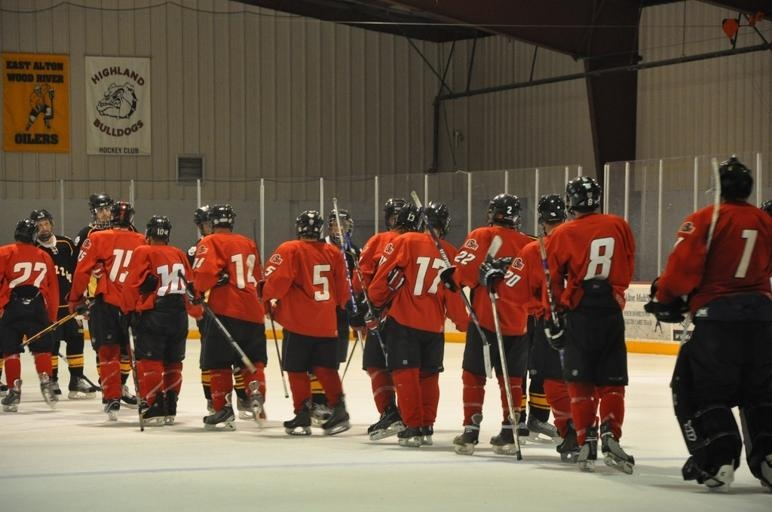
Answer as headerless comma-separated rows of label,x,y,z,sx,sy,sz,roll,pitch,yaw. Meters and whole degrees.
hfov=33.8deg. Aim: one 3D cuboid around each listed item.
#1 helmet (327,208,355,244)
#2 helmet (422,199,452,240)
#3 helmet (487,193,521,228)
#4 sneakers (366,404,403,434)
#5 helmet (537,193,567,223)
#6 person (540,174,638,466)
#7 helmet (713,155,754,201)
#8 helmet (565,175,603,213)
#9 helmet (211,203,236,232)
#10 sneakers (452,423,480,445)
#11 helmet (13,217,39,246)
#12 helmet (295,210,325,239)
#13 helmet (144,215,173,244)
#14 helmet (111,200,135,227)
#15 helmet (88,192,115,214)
helmet,-0.563,-0.402,16.085,0.295,0.351,0.376,6,-5,5
helmet,0.608,-0.449,14.924,0.335,0.397,0.424,5,2,11
helmet,1.319,-0.549,14.529,0.402,0.388,0.320,6,3,39
sneakers,0.012,1.904,14.564,0.517,0.237,0.188,-34,-52,28
helmet,1.869,-0.559,14.373,0.275,0.348,0.341,-1,-16,4
person,2.182,0.908,13.563,0.937,2.769,0.360,-1,-2,8
helmet,3.676,-0.798,13.404,0.394,0.424,0.462,3,-17,6
helmet,2.154,-0.673,13.959,0.427,0.436,0.465,-1,-3,-25
helmet,-1.989,-0.504,15.673,0.290,0.315,0.332,-1,5,-15
sneakers,0.882,1.990,14.080,0.272,0.254,0.170,-1,-2,2
helmet,-4.658,-0.345,16.474,0.265,0.316,0.344,2,7,-7
helmet,-0.919,-0.403,15.327,0.295,0.333,0.351,1,8,-10
helmet,-2.780,-0.348,15.734,0.322,0.378,0.400,2,4,-17
helmet,-3.360,-0.546,16.077,0.284,0.321,0.324,2,-3,-17
helmet,-3.798,-0.739,16.845,0.312,0.278,0.280,-10,0,31
